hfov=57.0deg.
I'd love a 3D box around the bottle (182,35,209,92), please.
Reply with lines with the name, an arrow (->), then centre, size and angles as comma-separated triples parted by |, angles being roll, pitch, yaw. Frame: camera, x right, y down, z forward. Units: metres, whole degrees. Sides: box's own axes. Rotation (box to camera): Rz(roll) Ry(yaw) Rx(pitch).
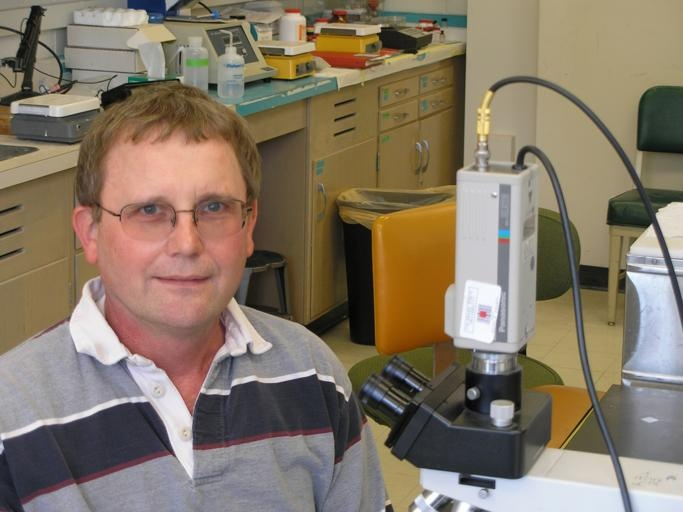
bottle -> -0.713, -0.925, 3.039 | 0.129, 0.251, 0.136 | 4, 21, -1

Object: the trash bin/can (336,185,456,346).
trash bin/can -> 0.267, 0.018, 3.817 | 0.736, 0.990, 0.818 | -4, 9, -12

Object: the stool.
stool -> -0.334, 0.114, 2.809 | 0.214, 0.291, 0.226 | 15, 42, 14

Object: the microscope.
microscope -> 0.175, 0.090, 0.853 | 0.216, 0.420, 0.171 | 5, 19, 21

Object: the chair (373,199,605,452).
chair -> 0.387, 0.300, 1.987 | 0.508, 0.860, 0.469 | -10, 6, -32

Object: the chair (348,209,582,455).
chair -> 0.363, 0.225, 2.002 | 0.606, 0.753, 0.504 | 0, -9, -39

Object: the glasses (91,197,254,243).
glasses -> -0.239, -0.054, 0.939 | 0.176, 0.065, 0.043 | -8, 19, -16
